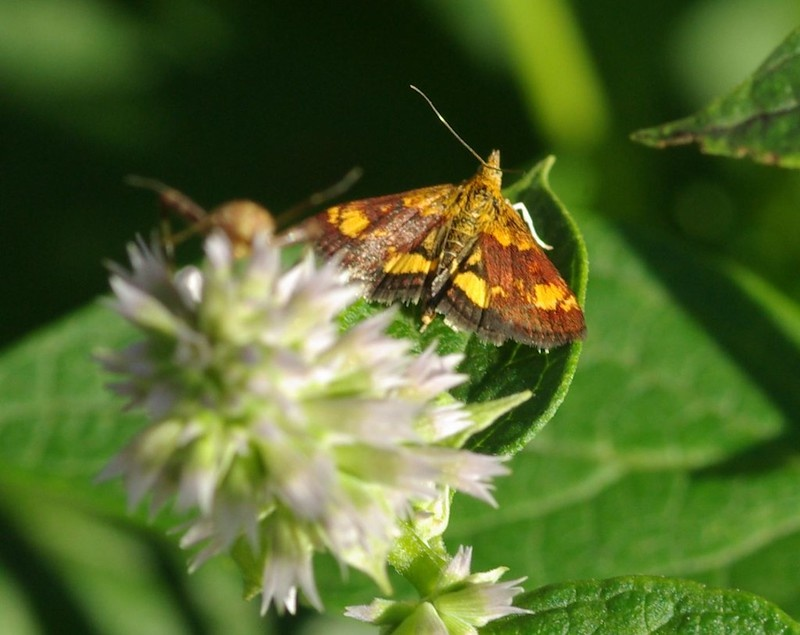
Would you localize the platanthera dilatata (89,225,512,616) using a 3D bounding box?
[{"bbox_3d":[-0.223,0.170,1.752,0.686,0.776,0.367,-30,-22,1],"label":"platanthera dilatata"}]
